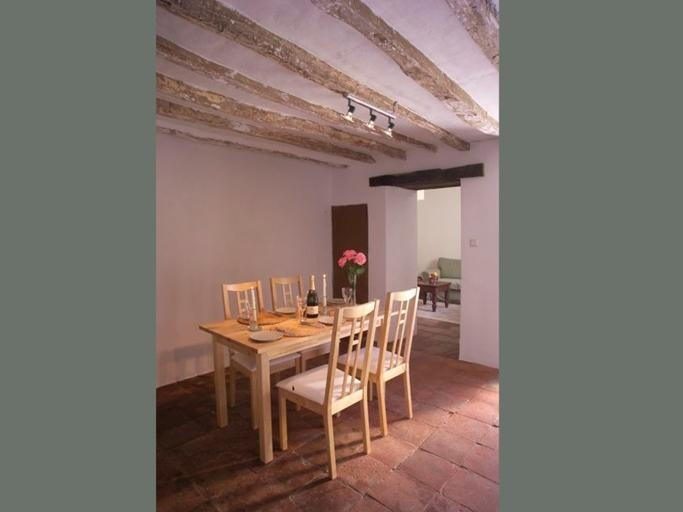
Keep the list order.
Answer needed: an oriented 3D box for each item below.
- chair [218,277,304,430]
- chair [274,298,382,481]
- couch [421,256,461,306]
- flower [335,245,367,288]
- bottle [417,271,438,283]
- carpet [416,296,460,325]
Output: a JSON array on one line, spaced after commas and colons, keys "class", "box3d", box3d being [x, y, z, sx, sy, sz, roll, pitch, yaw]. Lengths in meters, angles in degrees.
[{"class": "chair", "box3d": [-0.516, 0.573, 3.372, 0.474, 0.899, 0.481, 1, 1, -39]}, {"class": "chair", "box3d": [-0.170, 0.713, 2.627, 0.360, 0.579, 0.365, 10, -12, 26]}, {"class": "couch", "box3d": [1.785, 0.411, 8.177, 0.691, 0.715, 0.520, 7, 10, 32]}, {"class": "flower", "box3d": [0.078, 0.082, 3.292, 0.170, 0.207, 0.163, -3, 8, -12]}, {"class": "bottle", "box3d": [1.340, 0.326, 7.737, 0.210, 0.253, 0.276, -2, 2, -15]}, {"class": "carpet", "box3d": [1.357, 0.771, 6.936, 0.606, 0.080, 1.905, 0, 4, 12]}]
